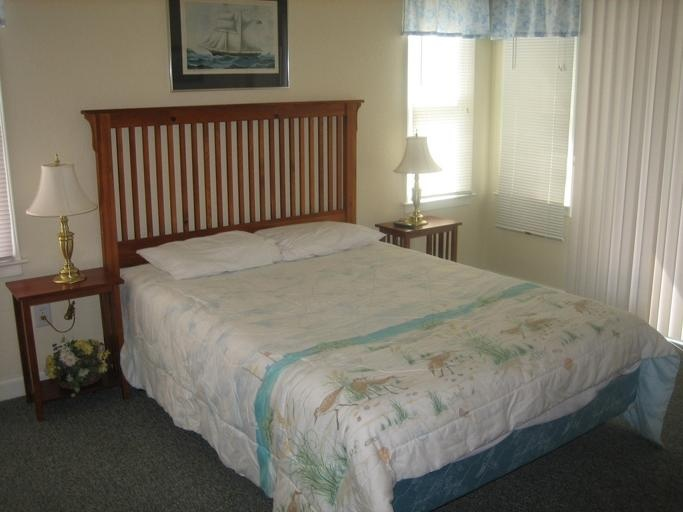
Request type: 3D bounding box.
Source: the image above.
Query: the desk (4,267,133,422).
[{"bbox_3d":[-1.923,0.628,3.711,0.448,0.995,0.718,16,22,42],"label":"desk"}]

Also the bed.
[{"bbox_3d":[0.252,-0.102,3.752,3.100,1.926,3.120,-16,21,-39],"label":"bed"}]

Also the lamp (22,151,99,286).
[{"bbox_3d":[-1.892,-0.245,3.619,0.394,0.820,0.444,-12,19,-30],"label":"lamp"}]

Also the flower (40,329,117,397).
[{"bbox_3d":[-1.882,0.714,3.771,0.341,0.287,0.400,-6,12,-30],"label":"flower"}]

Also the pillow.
[{"bbox_3d":[-0.604,-0.071,4.109,1.755,0.222,0.465,-11,19,-27],"label":"pillow"}]
